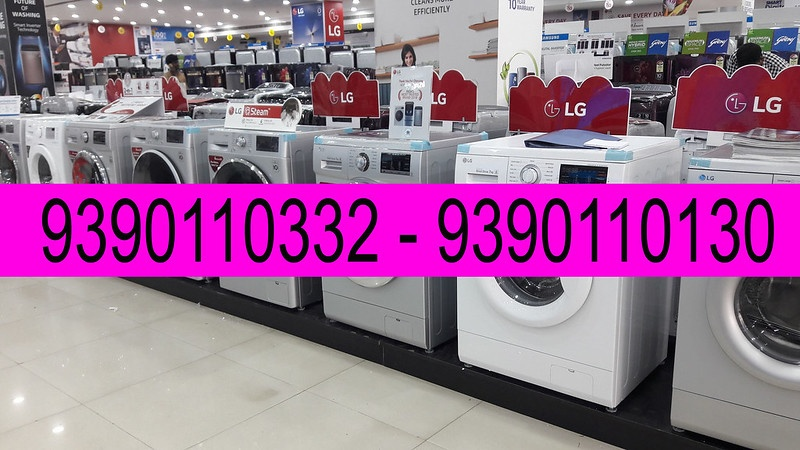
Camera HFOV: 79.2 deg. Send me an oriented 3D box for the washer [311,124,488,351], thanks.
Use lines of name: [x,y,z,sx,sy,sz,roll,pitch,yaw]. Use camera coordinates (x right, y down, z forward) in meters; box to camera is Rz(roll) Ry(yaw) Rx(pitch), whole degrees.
washer: [-0.010,-0.121,4.316,1.276,1.849,1.354,10,18,37]

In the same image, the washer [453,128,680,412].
washer: [1.166,0.225,3.764,1.278,2.063,1.472,12,19,39]
